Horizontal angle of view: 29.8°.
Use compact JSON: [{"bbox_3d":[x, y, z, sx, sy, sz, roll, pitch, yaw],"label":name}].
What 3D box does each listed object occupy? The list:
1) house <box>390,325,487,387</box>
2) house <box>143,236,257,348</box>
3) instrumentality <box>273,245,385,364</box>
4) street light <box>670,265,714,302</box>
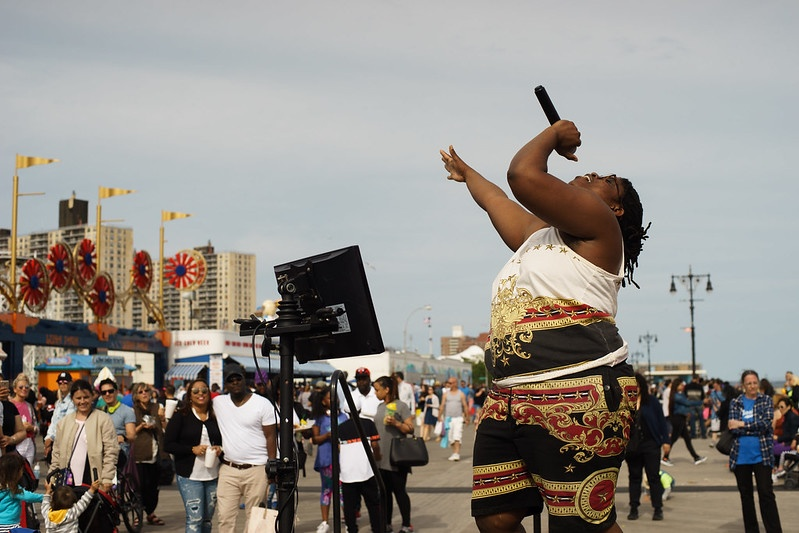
[{"bbox_3d":[2.672,7.674,112.131,5.177,4.469,2.571,12,-26,-40],"label":"house"},{"bbox_3d":[-18.667,2.185,139.932,8.971,7.577,4.597,-3,-17,-18],"label":"house"},{"bbox_3d":[-1.511,0.890,31.546,2.072,1.969,0.747,-20,-2,26],"label":"instrumentality"},{"bbox_3d":[2.675,0.190,13.712,0.390,0.363,0.353,-2,-1,7],"label":"street light"}]
